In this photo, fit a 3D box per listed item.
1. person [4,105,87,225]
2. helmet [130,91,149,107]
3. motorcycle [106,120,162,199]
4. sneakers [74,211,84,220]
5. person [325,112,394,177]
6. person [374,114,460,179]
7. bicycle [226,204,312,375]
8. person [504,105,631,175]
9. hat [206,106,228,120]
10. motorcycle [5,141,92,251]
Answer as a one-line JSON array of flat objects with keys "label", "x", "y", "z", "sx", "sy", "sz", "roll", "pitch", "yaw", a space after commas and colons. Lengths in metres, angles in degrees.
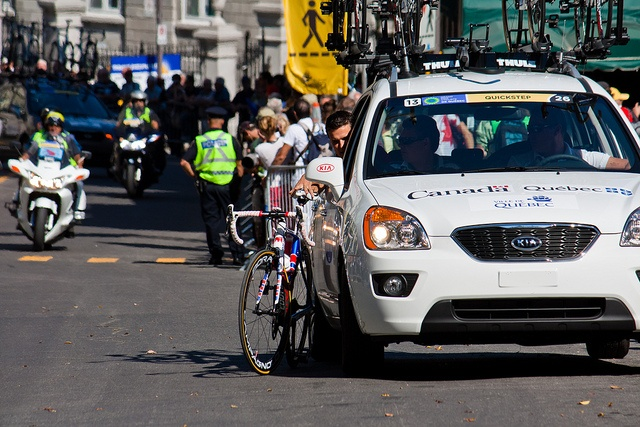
[{"label": "person", "x": -4.544, "y": -1.090, "z": 16.546, "sx": 1.061, "sy": 1.123, "sz": 2.046, "roll": 2, "pitch": -5, "yaw": -14}, {"label": "helmet", "x": -4.559, "y": -2.888, "z": 24.811, "sx": 0.363, "sy": 0.366, "sz": 0.664, "roll": -2, "pitch": 10, "yaw": -15}, {"label": "motorcycle", "x": -4.403, "y": -1.390, "z": 24.714, "sx": 1.262, "sy": 1.888, "sz": 1.344, "roll": -4, "pitch": 11, "yaw": -27}, {"label": "sneakers", "x": -4.182, "y": 0.030, "z": 17.137, "sx": 0.165, "sy": 0.088, "sz": 0.214, "roll": 0, "pitch": 0, "yaw": -17}, {"label": "person", "x": 0.267, "y": -0.862, "z": 11.638, "sx": 0.621, "sy": 0.691, "sz": 1.881, "roll": -1, "pitch": 4, "yaw": 7}, {"label": "person", "x": 0.855, "y": -0.589, "z": 9.009, "sx": 0.485, "sy": 0.377, "sz": 0.760, "roll": 9, "pitch": -7, "yaw": -41}, {"label": "bicycle", "x": -0.448, "y": 0.693, "z": 9.084, "sx": 0.618, "sy": 1.568, "sz": 0.908, "roll": 3, "pitch": 10, "yaw": 10}, {"label": "person", "x": 2.209, "y": -0.708, "z": 9.157, "sx": 0.630, "sy": 0.427, "sz": 0.847, "roll": 5, "pitch": 7, "yaw": -21}, {"label": "hat", "x": -1.682, "y": -1.616, "z": 15.957, "sx": 0.291, "sy": 0.191, "sz": 0.502, "roll": -1, "pitch": 10, "yaw": -10}, {"label": "motorcycle", "x": -4.673, "y": -0.279, "z": 16.872, "sx": 1.214, "sy": 1.853, "sz": 0.718, "roll": -2, "pitch": 10, "yaw": -17}]
